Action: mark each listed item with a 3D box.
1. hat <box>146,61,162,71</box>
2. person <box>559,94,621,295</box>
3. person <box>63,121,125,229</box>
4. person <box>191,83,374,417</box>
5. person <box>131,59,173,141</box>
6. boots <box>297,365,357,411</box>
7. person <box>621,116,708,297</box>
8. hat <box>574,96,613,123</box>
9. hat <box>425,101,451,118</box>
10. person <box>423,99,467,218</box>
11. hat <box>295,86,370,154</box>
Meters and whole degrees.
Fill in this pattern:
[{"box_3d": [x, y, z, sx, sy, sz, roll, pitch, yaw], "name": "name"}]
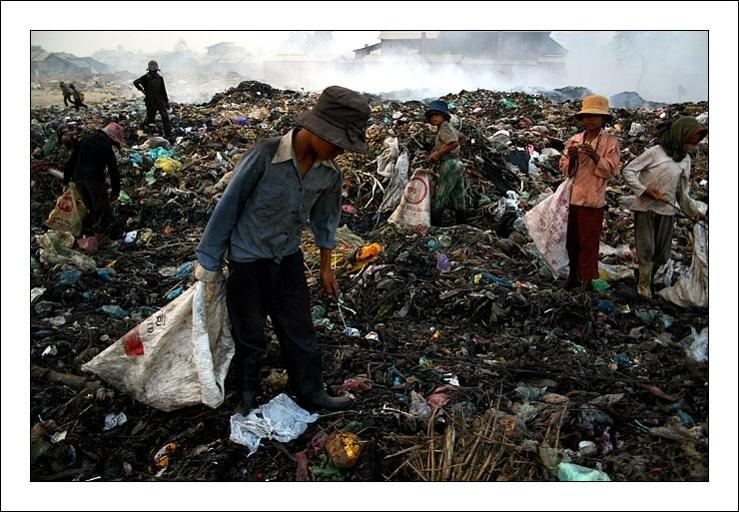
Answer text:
[{"box_3d": [-3.624, -3.153, 8.940, 0.175, 0.102, 0.171, -3, 22, -7], "name": "hat"}, {"box_3d": [2.473, -0.705, 6.169, 0.577, 2.189, 0.442, 10, 18, 33], "name": "person"}, {"box_3d": [-3.770, -1.069, 7.452, 0.778, 1.479, 0.614, -10, 18, -32], "name": "person"}, {"box_3d": [-0.710, 0.002, 4.410, 1.339, 2.674, 0.558, -4, 16, -16], "name": "person"}, {"box_3d": [-3.665, -2.652, 9.207, 0.601, 1.280, 0.344, 4, 16, 15], "name": "person"}, {"box_3d": [-0.399, 1.140, 4.671, 0.669, 0.391, 0.256, 4, 1, 24], "name": "boots"}, {"box_3d": [3.335, -0.538, 6.179, 0.851, 2.037, 0.460, 1, 15, 6], "name": "person"}, {"box_3d": [2.527, -1.649, 5.971, 0.343, 0.283, 0.500, -3, 14, -13], "name": "hat"}, {"box_3d": [0.997, -2.117, 7.726, 0.301, 0.175, 0.367, 0, -14, 20], "name": "hat"}, {"box_3d": [1.093, -1.349, 7.708, 0.589, 1.718, 0.766, 1, 15, 5], "name": "person"}, {"box_3d": [-0.231, -1.063, 4.188, 0.577, 0.303, 0.541, 32, 27, 9], "name": "hat"}]
